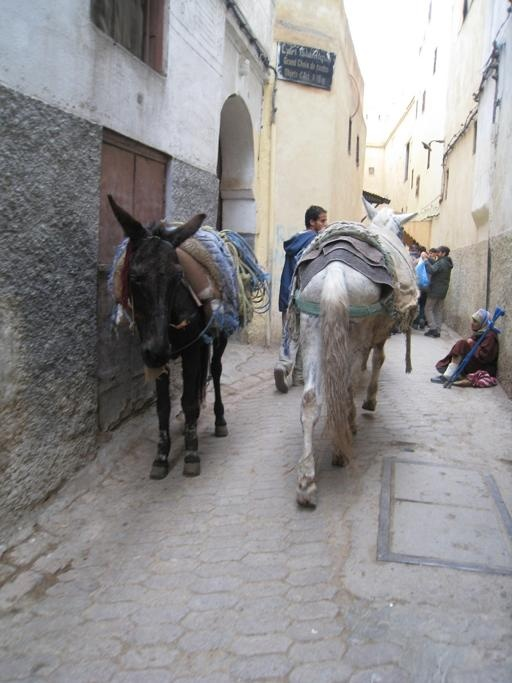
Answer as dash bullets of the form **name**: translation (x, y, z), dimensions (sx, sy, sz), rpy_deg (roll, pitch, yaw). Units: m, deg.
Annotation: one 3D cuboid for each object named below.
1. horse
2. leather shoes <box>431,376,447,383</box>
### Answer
- **horse**: translation (0.521, 0.002, 2.878), dimensions (0.474, 1.502, 1.998), rpy_deg (3, 16, 10)
- **leather shoes**: translation (2.117, 0.443, 5.833), dimensions (0.176, 0.100, 0.069), rpy_deg (3, 0, 35)
